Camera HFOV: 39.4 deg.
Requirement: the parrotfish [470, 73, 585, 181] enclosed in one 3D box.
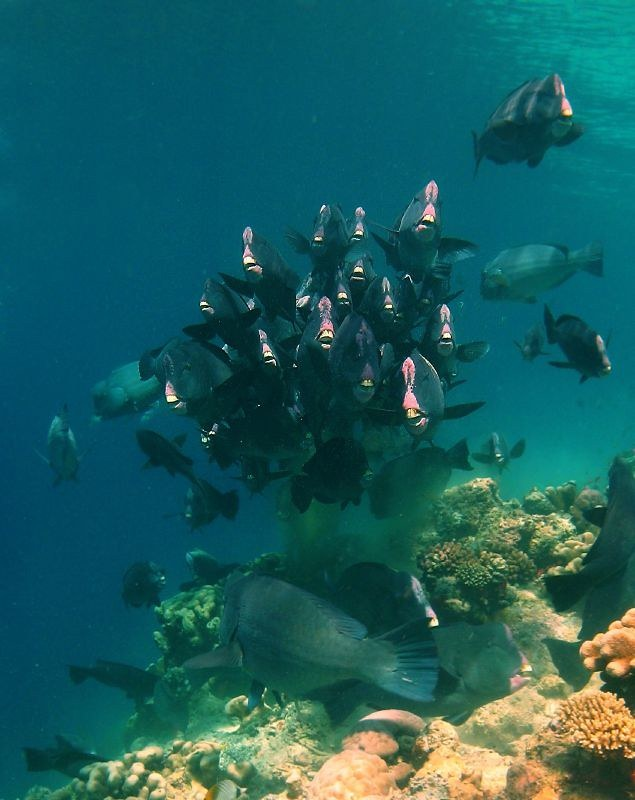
[{"bbox_3d":[2.322,-3.196,10.076,1.055,0.970,0.207,4,25,19],"label":"parrotfish"}]
